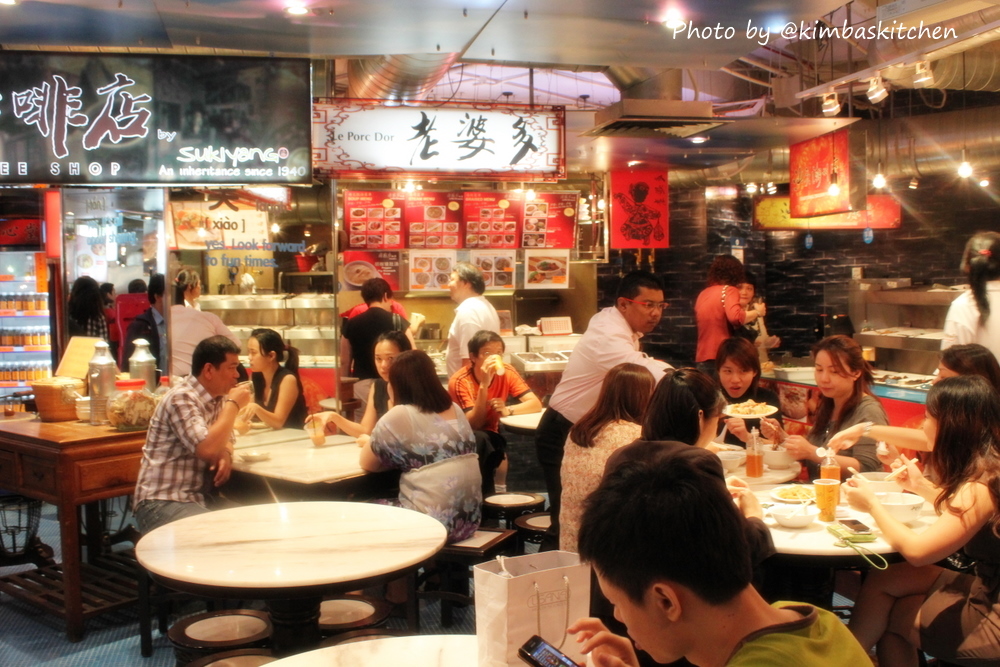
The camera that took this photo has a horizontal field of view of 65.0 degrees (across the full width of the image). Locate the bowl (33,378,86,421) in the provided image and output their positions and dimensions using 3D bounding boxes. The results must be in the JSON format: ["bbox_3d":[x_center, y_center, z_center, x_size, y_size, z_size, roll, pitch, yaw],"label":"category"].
[{"bbox_3d":[-3.187,0.477,5.640,0.335,0.241,0.312,-5,-1,0],"label":"bowl"}]

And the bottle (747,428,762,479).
[{"bbox_3d":[1.421,0.652,4.376,0.101,0.264,0.231,0,4,18],"label":"bottle"}]

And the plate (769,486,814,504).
[{"bbox_3d":[1.509,0.814,4.034,0.207,0.066,0.263,1,4,22],"label":"plate"}]

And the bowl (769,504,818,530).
[{"bbox_3d":[1.419,0.870,3.810,0.206,0.075,0.310,0,4,19],"label":"bowl"}]

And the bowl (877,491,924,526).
[{"bbox_3d":[1.882,0.830,3.685,0.215,0.157,0.096,-2,4,-10],"label":"bowl"}]

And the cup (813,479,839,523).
[{"bbox_3d":[1.591,0.812,3.827,0.186,0.200,0.162,1,-8,19],"label":"cup"}]

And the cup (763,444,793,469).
[{"bbox_3d":[1.564,0.691,4.422,0.141,0.084,0.137,-1,0,0],"label":"cup"}]
